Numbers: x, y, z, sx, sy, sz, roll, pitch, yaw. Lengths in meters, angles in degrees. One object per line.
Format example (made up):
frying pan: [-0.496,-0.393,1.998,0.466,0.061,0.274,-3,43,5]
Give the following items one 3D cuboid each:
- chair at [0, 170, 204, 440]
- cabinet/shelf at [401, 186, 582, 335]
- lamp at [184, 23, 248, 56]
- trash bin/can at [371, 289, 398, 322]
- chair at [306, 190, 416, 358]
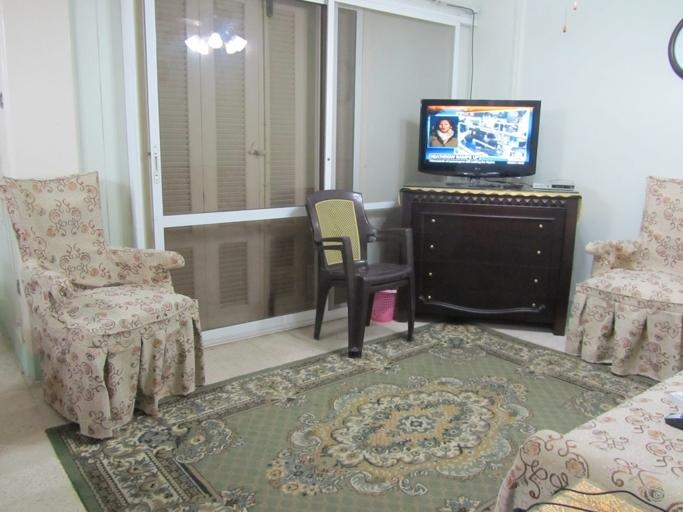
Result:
chair: [-1.281,0.058,3.267,1.445,1.597,1.063,16,20,32]
cabinet/shelf: [1.109,0.006,3.743,1.075,0.922,0.413,3,8,14]
lamp: [-0.760,-1.405,3.323,0.340,0.137,0.328,5,19,8]
trash bin/can: [0.340,0.383,4.074,0.267,0.244,0.241,-2,9,-21]
chair: [0.116,0.081,3.570,0.672,1.021,0.709,9,13,42]
